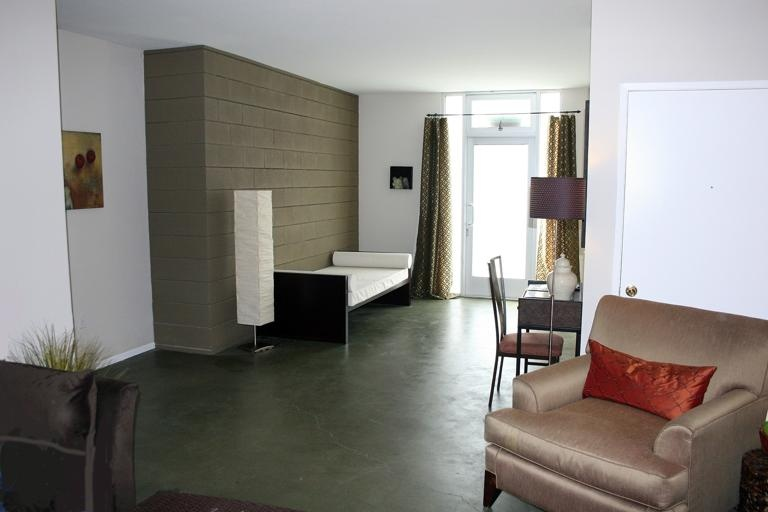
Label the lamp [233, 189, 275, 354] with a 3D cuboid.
[{"bbox_3d":[-1.441,0.021,6.056,0.409,1.491,0.301,-3,13,-16],"label":"lamp"}]

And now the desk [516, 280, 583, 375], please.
[{"bbox_3d":[1.490,0.487,5.001,0.608,0.769,1.020,1,2,16],"label":"desk"}]
